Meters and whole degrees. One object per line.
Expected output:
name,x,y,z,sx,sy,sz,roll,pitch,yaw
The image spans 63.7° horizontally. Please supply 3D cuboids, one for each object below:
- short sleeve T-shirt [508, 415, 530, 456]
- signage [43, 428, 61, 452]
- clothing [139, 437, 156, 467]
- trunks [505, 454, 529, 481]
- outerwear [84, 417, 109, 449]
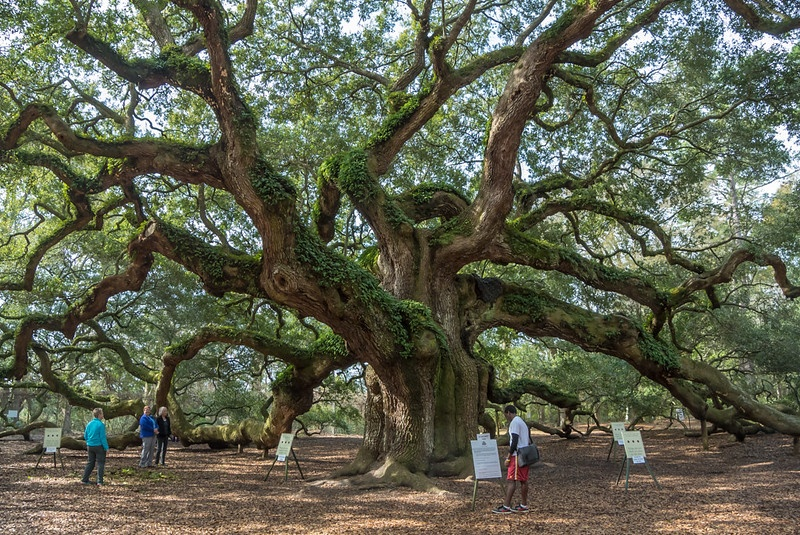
short sleeve T-shirt,3.087,4.246,16.713,0.446,0.814,0.807,-2,-1,28
signage,-11.348,5.639,21.096,0.436,0.720,0.548,13,-21,-33
clothing,-8.784,6.450,22.457,0.340,1.025,0.456,4,-18,-8
trunks,3.024,5.152,16.499,0.491,0.642,0.500,0,-18,5
outerwear,-9.136,5.026,19.469,0.612,0.909,0.597,10,-20,-25
